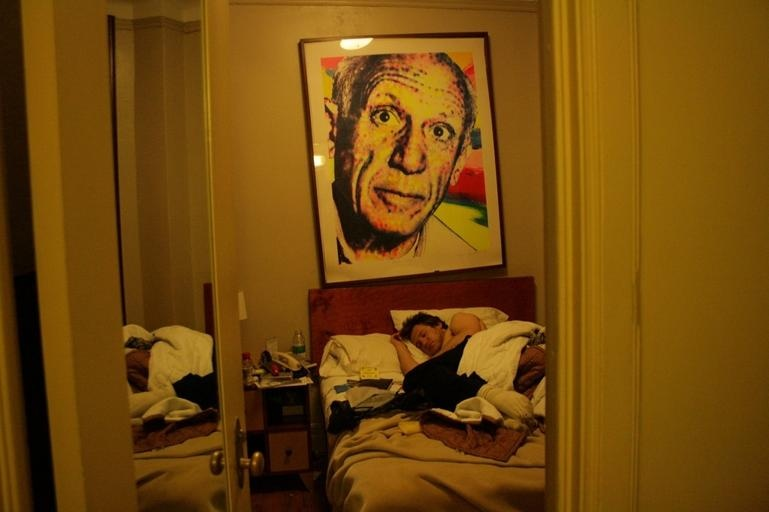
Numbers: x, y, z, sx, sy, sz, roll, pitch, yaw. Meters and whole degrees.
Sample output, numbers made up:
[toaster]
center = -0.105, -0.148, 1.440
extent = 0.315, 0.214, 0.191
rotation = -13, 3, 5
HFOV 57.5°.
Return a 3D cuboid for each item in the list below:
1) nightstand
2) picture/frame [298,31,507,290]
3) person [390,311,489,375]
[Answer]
[nightstand]
center = -0.636, 0.986, 3.972
extent = 0.430, 0.596, 0.354
rotation = -5, -3, -15
[picture/frame]
center = 0.047, -0.602, 4.308
extent = 1.274, 1.772, 0.068
rotation = -4, -1, -12
[person]
center = 0.384, 0.444, 4.253
extent = 0.675, 0.300, 0.491
rotation = -17, -3, -8
